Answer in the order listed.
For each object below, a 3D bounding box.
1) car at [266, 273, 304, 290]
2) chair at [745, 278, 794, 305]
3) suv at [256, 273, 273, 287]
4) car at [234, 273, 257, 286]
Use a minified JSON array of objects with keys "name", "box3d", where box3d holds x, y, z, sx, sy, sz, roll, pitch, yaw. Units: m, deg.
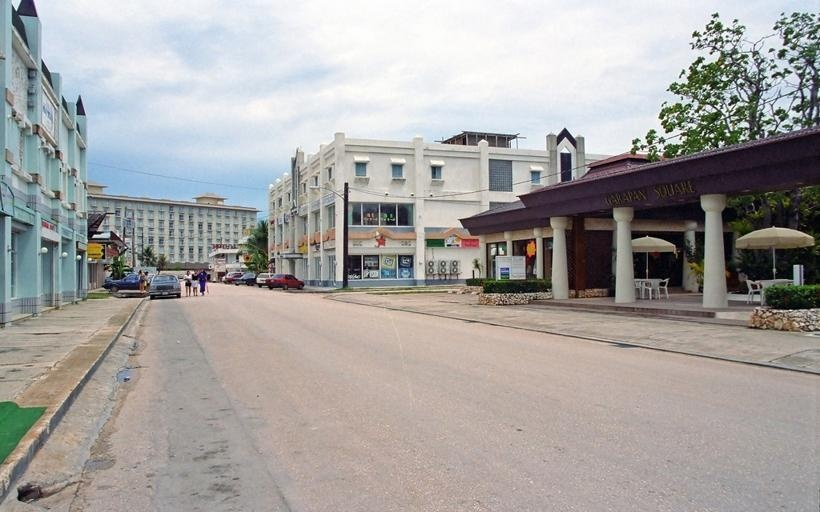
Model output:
[{"name":"car","box3d":[-11.752,2.503,55.921,2.897,1.162,1.726,-2,0,-16]},{"name":"chair","box3d":[13.129,1.301,21.275,0.966,1.087,0.824,0,13,16]},{"name":"suv","box3d":[-15.721,2.634,62.467,1.448,1.087,2.561,0,6,0]},{"name":"car","box3d":[-19.642,2.848,70.938,1.891,1.141,3.489,1,0,-37]}]
